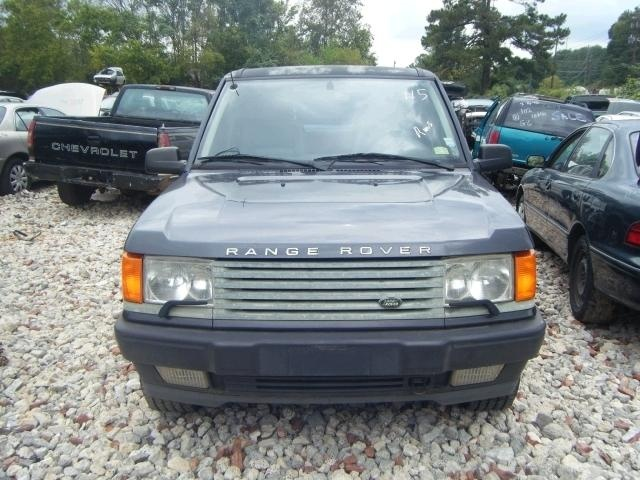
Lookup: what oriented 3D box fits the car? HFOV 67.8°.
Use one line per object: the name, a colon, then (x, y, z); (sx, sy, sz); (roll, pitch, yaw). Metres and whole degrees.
car: (0.145, -0.268, 3.879); (2.242, 1.359, 3.236); (0, 8, 5)
